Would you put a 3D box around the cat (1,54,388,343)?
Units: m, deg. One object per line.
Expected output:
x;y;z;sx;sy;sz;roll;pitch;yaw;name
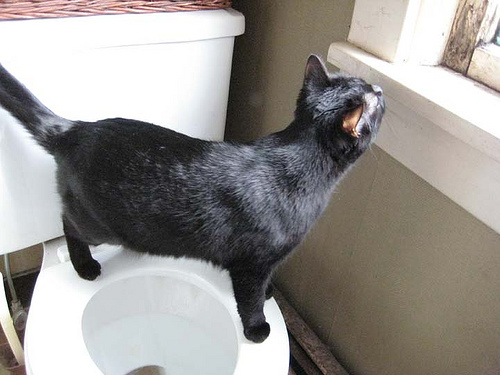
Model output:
-0.125;-0.025;0.876;0.716;0.497;0.289;13;37;10;cat

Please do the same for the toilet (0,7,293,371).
-0.220;0.007;0.895;0.396;0.614;0.709;-7;58;-9;toilet
